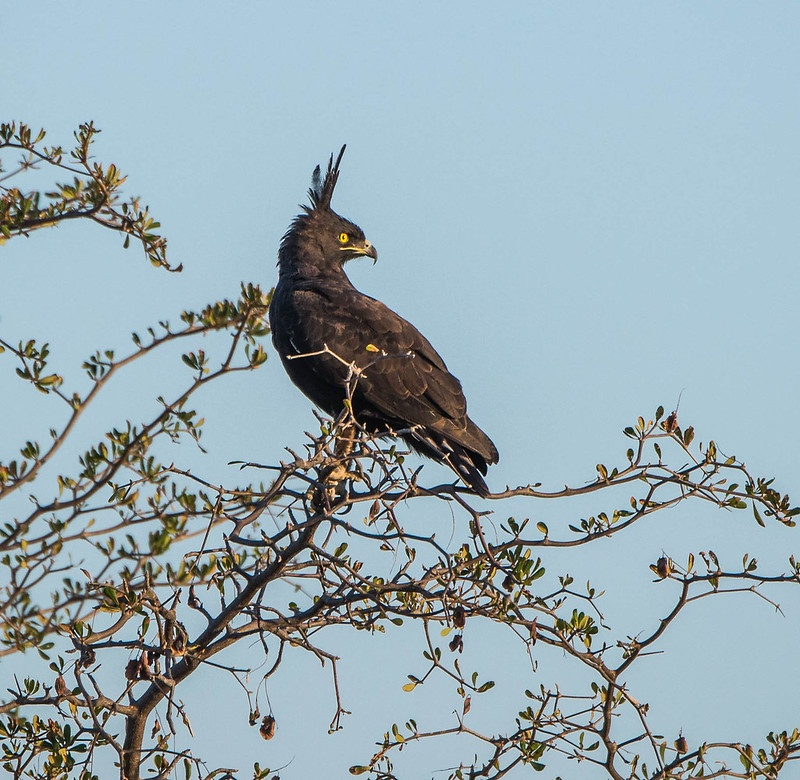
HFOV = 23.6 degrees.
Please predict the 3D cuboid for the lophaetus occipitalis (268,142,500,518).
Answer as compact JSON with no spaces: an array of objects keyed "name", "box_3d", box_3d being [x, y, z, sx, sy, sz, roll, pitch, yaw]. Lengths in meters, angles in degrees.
[{"name":"lophaetus occipitalis","box_3d":[-0.101,-0.325,10.104,1.231,1.810,0.642,7,-15,-3]}]
